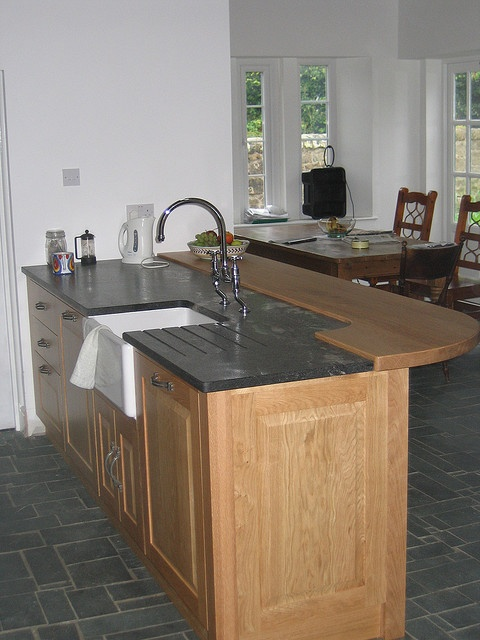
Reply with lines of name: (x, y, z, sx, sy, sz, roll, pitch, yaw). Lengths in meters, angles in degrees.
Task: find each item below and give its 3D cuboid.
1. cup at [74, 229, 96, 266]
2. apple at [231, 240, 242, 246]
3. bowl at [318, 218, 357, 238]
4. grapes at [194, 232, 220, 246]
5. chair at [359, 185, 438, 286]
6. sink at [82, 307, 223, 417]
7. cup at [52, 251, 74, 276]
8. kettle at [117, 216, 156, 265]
cup: (-0.805, -0.376, 2.984, 0.109, 0.175, 0.188, -5, 13, -14)
apple: (-0.022, -0.387, 2.869, 0.032, 0.022, 0.039, 2, 21, 5)
bowl: (0.718, -0.690, 4.323, 0.213, 0.102, 0.206, -1, 7, 0)
grapes: (-0.163, -0.406, 2.891, 0.102, 0.033, 0.094, -6, 23, -16)
chair: (1.261, -0.599, 4.782, 0.633, 0.951, 0.503, -15, 20, -29)
sink: (-0.318, 0.081, 1.842, 0.382, 0.179, 0.365, -9, 18, -28)
cup: (-0.828, -0.264, 2.698, 0.096, 0.100, 0.109, -6, 14, -17)
kettle: (-0.537, -0.413, 2.983, 0.219, 0.238, 0.189, 0, 13, 8)
